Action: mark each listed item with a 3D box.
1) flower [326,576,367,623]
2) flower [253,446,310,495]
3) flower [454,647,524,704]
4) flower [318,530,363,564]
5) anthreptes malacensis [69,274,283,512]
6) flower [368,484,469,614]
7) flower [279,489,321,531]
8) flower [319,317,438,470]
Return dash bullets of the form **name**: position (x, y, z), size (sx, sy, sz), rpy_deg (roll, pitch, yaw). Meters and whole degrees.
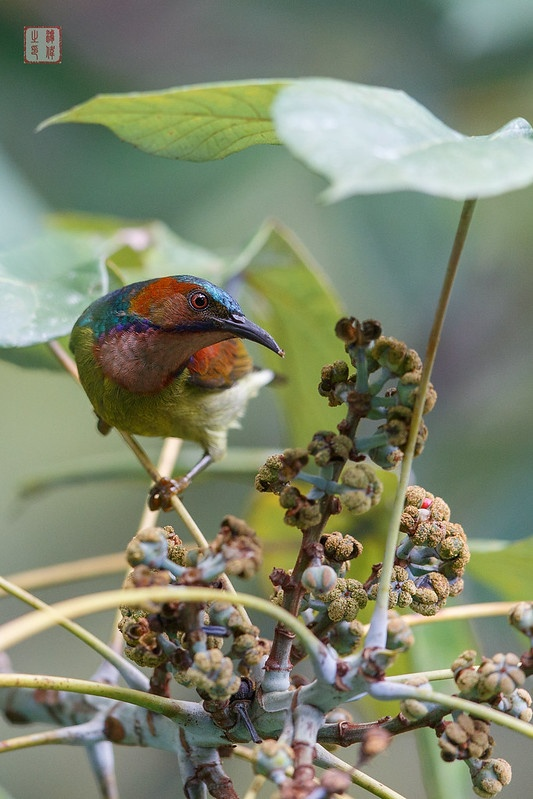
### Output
- **flower**: position (0.099, 0.254, 1.095), size (0.060, 0.028, 0.061), rpy_deg (-11, 18, 0)
- **flower**: position (0.014, 0.088, 1.097), size (0.057, 0.034, 0.071), rpy_deg (-22, 0, -16)
- **flower**: position (0.247, 0.308, 0.955), size (0.060, 0.079, 0.031), rpy_deg (47, 32, -5)
- **flower**: position (0.096, 0.189, 1.116), size (0.044, 0.028, 0.053), rpy_deg (1, 1, -40)
- **anthreptes malacensis**: position (-0.261, -0.039, 2.049), size (0.349, 0.472, 0.814), rpy_deg (14, 3, 9)
- **flower**: position (0.220, 0.204, 1.140), size (0.099, 0.149, 0.203), rpy_deg (11, 22, 10)
- **flower**: position (0.041, 0.134, 1.063), size (0.051, 0.046, 0.033), rpy_deg (10, 23, 11)
- **flower**: position (0.100, -0.010, 1.131), size (0.165, 0.194, 0.078), rpy_deg (31, -17, -27)
